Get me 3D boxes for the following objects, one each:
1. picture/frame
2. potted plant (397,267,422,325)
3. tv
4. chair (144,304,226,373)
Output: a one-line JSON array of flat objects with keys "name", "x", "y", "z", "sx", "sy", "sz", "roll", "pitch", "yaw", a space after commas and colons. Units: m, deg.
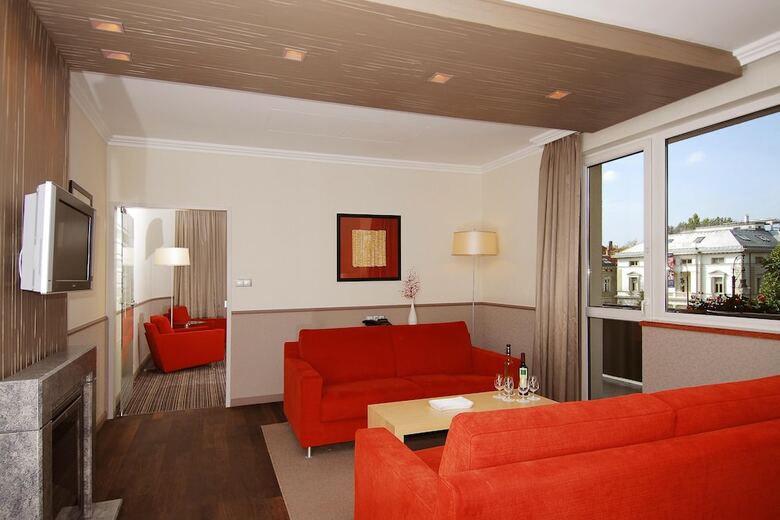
[{"name": "picture/frame", "x": -0.349, "y": -0.179, "z": 6.759, "sx": 1.033, "sy": 0.983, "sz": 0.046, "roll": 0, "pitch": 0, "yaw": -17}, {"name": "potted plant", "x": 0.289, "y": 0.516, "z": 6.757, "sx": 0.299, "sy": 0.790, "sz": 0.587, "roll": 0, "pitch": 4, "yaw": 3}, {"name": "tv", "x": -2.315, "y": -0.131, "z": 3.284, "sx": 0.345, "sy": 0.751, "sz": 0.788, "roll": -2, "pitch": 4, "yaw": -27}, {"name": "chair", "x": -3.438, "y": 1.321, "z": 7.939, "sx": 1.202, "sy": 0.909, "sz": 0.931, "roll": -2, "pitch": 5, "yaw": -31}]
